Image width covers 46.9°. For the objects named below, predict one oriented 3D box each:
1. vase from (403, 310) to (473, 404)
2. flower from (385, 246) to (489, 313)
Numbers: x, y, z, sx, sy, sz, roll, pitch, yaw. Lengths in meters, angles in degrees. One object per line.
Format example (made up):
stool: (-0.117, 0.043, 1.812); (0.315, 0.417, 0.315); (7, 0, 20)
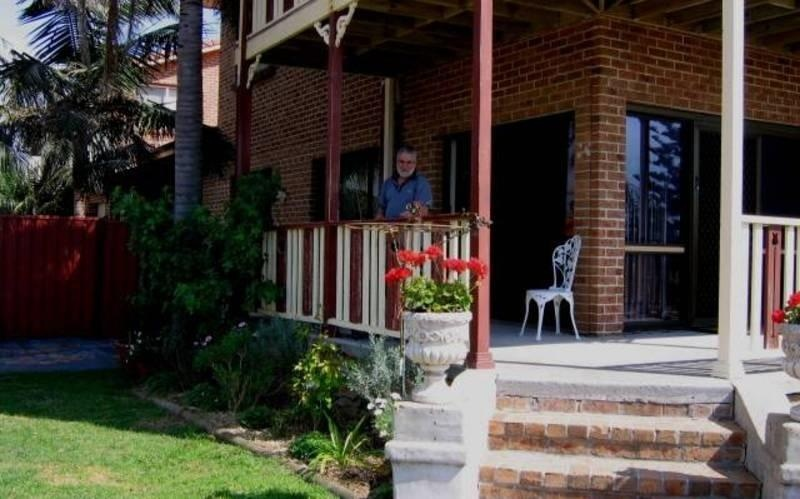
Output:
vase: (0.377, 1.351, 11.971); (0.887, 1.198, 1.051); (0, 3, -3)
flower: (0.467, 0.459, 12.129); (0.993, 0.813, 0.903); (0, -3, -2)
